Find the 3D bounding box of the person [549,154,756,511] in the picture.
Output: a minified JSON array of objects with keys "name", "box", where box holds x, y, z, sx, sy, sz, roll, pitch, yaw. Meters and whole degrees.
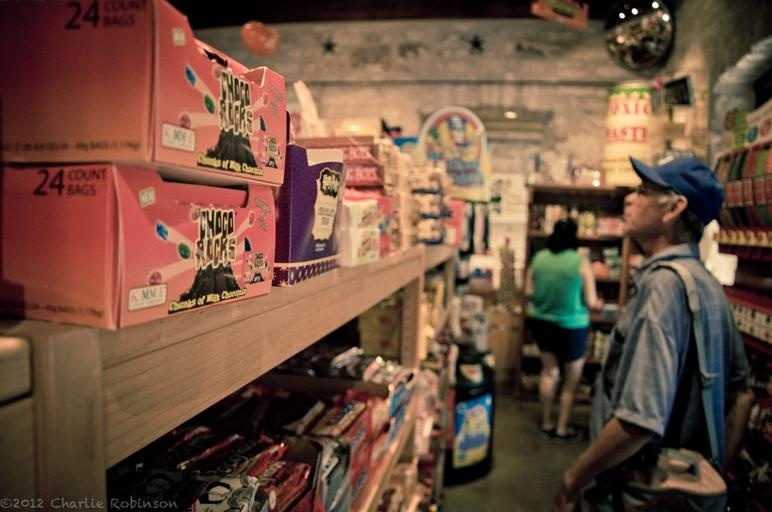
[{"name":"person","box":[1.304,0.408,2.563,0.715,1.721,0.868,11,9,27]}]
